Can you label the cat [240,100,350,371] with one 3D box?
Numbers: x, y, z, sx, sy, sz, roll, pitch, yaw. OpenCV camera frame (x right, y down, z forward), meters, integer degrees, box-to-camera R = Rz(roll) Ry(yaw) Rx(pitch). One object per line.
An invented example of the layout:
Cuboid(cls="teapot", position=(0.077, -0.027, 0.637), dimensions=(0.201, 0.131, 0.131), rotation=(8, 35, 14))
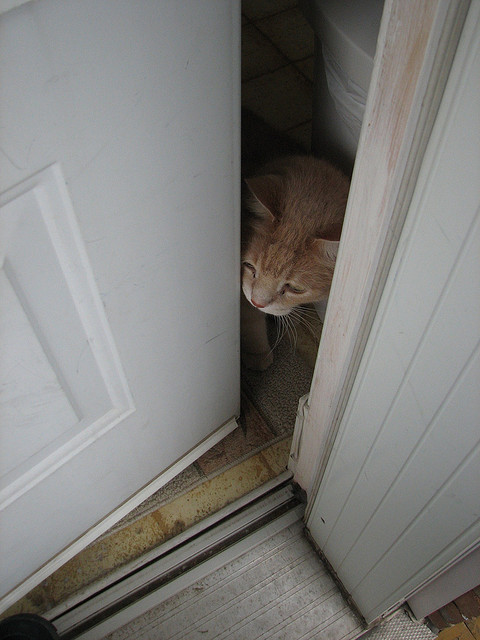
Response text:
Cuboid(cls="cat", position=(0.117, -0.225, 1.219), dimensions=(0.235, 0.543, 0.625), rotation=(0, 52, 3))
